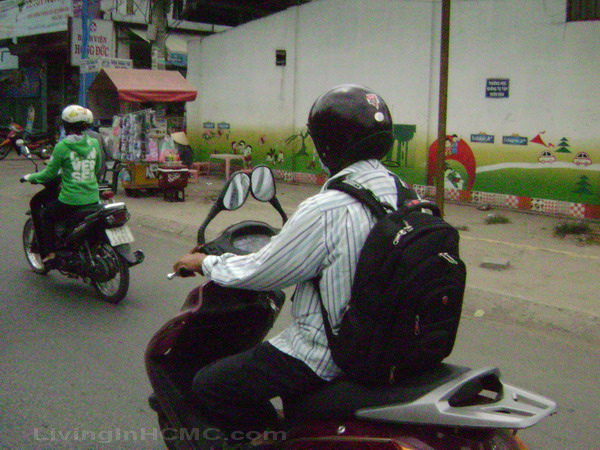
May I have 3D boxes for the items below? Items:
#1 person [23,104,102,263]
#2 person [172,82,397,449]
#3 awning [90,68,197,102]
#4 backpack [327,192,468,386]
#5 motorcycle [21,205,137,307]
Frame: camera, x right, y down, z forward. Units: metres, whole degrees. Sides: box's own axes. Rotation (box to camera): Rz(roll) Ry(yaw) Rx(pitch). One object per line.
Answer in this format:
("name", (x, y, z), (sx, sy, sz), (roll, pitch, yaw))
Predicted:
("person", (-2.504, -0.439, 5.911), (0.801, 1.663, 0.632), (-10, 17, -38))
("person", (-0.050, 0.218, 2.453), (0.933, 1.666, 0.543), (2, 13, 6))
("awning", (-3.664, -3.165, 12.303), (1.310, 0.500, 1.435), (-5, 18, -26))
("backpack", (0.443, 0.267, 2.324), (0.542, 0.793, 0.428), (-11, 24, -42))
("motorcycle", (-2.256, 0.262, 5.752), (1.264, 0.986, 0.422), (7, 14, 24))
